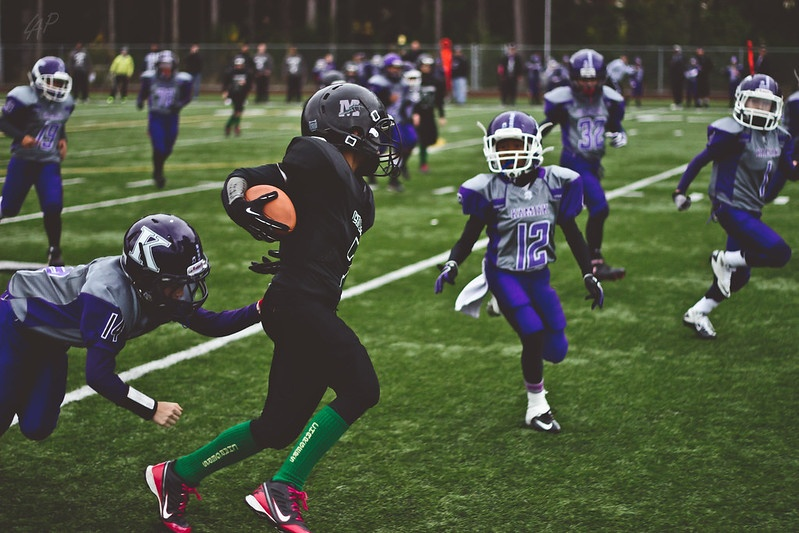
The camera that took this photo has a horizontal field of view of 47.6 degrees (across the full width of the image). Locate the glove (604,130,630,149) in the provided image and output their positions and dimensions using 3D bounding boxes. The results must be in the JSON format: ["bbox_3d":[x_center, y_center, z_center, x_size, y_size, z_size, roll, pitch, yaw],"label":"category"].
[{"bbox_3d":[2.165,-1.251,8.988,0.089,0.151,0.190,-33,12,-5],"label":"glove"}]

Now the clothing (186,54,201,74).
[{"bbox_3d":[-2.590,-2.509,11.382,0.202,0.266,0.269,1,15,0],"label":"clothing"}]

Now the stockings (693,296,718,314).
[{"bbox_3d":[2.646,0.342,7.784,0.218,0.101,0.071,-27,23,50],"label":"stockings"}]

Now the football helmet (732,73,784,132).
[{"bbox_3d":[2.911,-1.333,7.455,0.365,0.390,0.487,8,23,7],"label":"football helmet"}]

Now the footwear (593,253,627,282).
[{"bbox_3d":[2.134,0.031,9.172,0.409,0.273,0.138,-8,27,-14],"label":"footwear"}]

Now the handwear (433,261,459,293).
[{"bbox_3d":[0.323,0.071,6.235,0.159,0.077,0.246,-15,29,29],"label":"handwear"}]

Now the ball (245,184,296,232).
[{"bbox_3d":[-0.670,-0.308,5.049,0.281,0.165,0.219,27,4,7],"label":"ball"}]

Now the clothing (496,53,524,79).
[{"bbox_3d":[3.523,-6.318,28.580,0.627,0.898,0.870,0,9,-10],"label":"clothing"}]

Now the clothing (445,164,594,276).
[{"bbox_3d":[0.816,-0.367,6.595,1.381,0.955,0.636,-2,1,-4],"label":"clothing"}]

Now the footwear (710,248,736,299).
[{"bbox_3d":[2.769,0.053,7.745,0.204,0.424,0.148,-20,-1,35],"label":"footwear"}]

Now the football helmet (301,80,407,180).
[{"bbox_3d":[-0.338,-0.850,5.529,0.675,0.520,0.507,3,5,-11],"label":"football helmet"}]

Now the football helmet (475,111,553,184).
[{"bbox_3d":[0.785,-0.815,6.446,0.467,0.388,0.487,-2,7,8],"label":"football helmet"}]

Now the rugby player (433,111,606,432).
[{"bbox_3d":[0.861,0.029,6.362,1.089,2.168,0.503,2,9,3],"label":"rugby player"}]

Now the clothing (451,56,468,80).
[{"bbox_3d":[2.016,-6.548,30.256,0.455,0.804,0.571,2,9,1],"label":"clothing"}]

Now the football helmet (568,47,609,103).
[{"bbox_3d":[1.875,-1.889,8.995,0.380,0.460,0.476,-1,27,6],"label":"football helmet"}]

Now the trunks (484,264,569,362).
[{"bbox_3d":[0.926,0.282,6.311,0.225,0.735,0.416,-36,-27,31],"label":"trunks"}]

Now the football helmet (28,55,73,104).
[{"bbox_3d":[-3.341,-1.758,8.650,0.358,0.412,0.336,-2,10,-23],"label":"football helmet"}]

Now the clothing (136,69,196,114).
[{"bbox_3d":[-3.378,-2.414,13.023,0.777,0.664,0.445,2,19,-5],"label":"clothing"}]
